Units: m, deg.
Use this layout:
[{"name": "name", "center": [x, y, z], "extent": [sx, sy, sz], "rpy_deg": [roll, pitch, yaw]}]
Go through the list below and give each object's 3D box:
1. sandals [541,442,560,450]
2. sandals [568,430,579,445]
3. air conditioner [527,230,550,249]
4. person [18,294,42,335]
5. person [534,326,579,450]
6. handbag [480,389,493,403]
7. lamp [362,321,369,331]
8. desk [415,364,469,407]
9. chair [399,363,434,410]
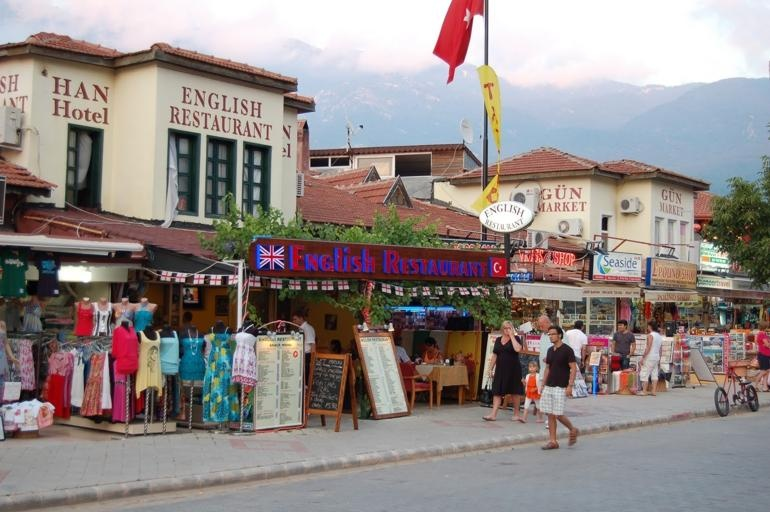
[{"name": "sandals", "center": [3.461, 3.974, 16.411], "extent": [0.327, 0.134, 0.149], "rpy_deg": [3, -1, -2]}, {"name": "sandals", "center": [4.026, 3.887, 16.783], "extent": [0.159, 0.415, 0.144], "rpy_deg": [23, -19, -19]}, {"name": "air conditioner", "center": [6.404, -0.768, 32.741], "extent": [0.743, 0.818, 1.884], "rpy_deg": [-2, -6, 24]}, {"name": "person", "center": [-8.792, 1.425, 19.645], "extent": [0.471, 0.408, 1.149], "rpy_deg": [8, -53, -26]}, {"name": "person", "center": [3.715, 2.782, 16.757], "extent": [0.805, 2.621, 0.861], "rpy_deg": [-3, -9, 36]}, {"name": "handbag", "center": [2.783, 3.885, 21.731], "extent": [0.247, 0.394, 0.748], "rpy_deg": [1, -5, -8]}, {"name": "lamp", "center": [-0.473, 1.751, 19.519], "extent": [0.170, 0.329, 0.176], "rpy_deg": [-7, -9, 32]}, {"name": "desk", "center": [1.619, 3.587, 21.880], "extent": [1.140, 0.902, 1.174], "rpy_deg": [0, -7, -23]}, {"name": "chair", "center": [0.818, 3.421, 20.883], "extent": [0.568, 1.209, 1.272], "rpy_deg": [-3, -6, 27]}]
